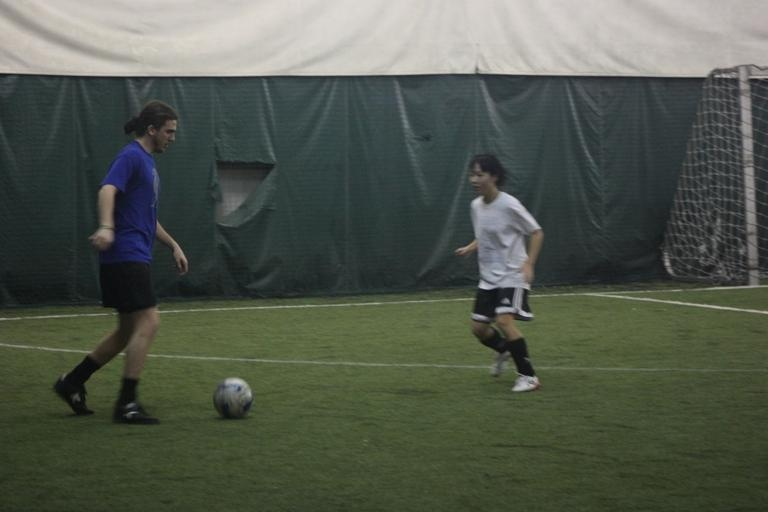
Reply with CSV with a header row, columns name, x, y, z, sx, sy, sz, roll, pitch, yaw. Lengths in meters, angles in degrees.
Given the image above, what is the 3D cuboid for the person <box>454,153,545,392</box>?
name,x,y,z,sx,sy,sz,roll,pitch,yaw
person,1.077,0.138,8.774,0.676,2.087,0.637,1,5,4

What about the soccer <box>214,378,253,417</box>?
name,x,y,z,sx,sy,sz,roll,pitch,yaw
soccer,-1.244,1.172,8.029,0.304,0.313,0.185,0,5,-8

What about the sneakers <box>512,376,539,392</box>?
name,x,y,z,sx,sy,sz,roll,pitch,yaw
sneakers,1.245,1.132,8.606,0.287,0.103,0.105,0,-5,-35

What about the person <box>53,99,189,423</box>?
name,x,y,z,sx,sy,sz,roll,pitch,yaw
person,-2.113,0.040,7.870,0.877,2.595,0.499,0,5,-12

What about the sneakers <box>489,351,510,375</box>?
name,x,y,z,sx,sy,sz,roll,pitch,yaw
sneakers,1.063,0.996,8.998,0.106,0.118,0.290,2,36,36

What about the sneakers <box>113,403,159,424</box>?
name,x,y,z,sx,sy,sz,roll,pitch,yaw
sneakers,-2.004,1.276,7.906,0.338,0.119,0.167,0,0,3

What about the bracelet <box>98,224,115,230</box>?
name,x,y,z,sx,sy,sz,roll,pitch,yaw
bracelet,-2.180,-0.231,7.693,0.099,0.042,0.141,-1,5,-19
